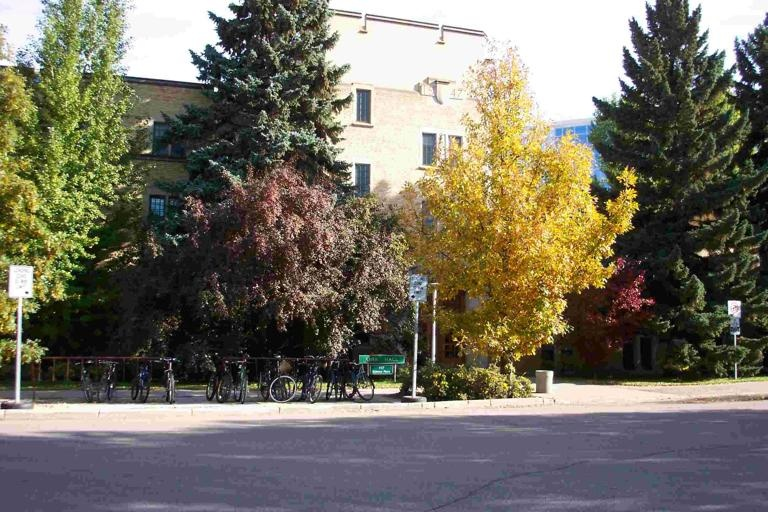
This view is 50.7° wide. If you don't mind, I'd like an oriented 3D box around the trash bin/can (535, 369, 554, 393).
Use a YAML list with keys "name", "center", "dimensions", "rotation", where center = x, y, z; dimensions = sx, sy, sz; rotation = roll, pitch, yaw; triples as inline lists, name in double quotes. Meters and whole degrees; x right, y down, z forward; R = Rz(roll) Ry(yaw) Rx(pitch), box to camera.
- name: "trash bin/can"
  center: [6.619, 5.172, 33.363]
  dimensions: [0.795, 0.945, 0.836]
  rotation: [0, -3, -2]
